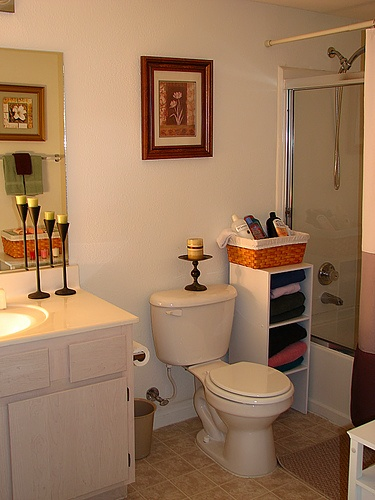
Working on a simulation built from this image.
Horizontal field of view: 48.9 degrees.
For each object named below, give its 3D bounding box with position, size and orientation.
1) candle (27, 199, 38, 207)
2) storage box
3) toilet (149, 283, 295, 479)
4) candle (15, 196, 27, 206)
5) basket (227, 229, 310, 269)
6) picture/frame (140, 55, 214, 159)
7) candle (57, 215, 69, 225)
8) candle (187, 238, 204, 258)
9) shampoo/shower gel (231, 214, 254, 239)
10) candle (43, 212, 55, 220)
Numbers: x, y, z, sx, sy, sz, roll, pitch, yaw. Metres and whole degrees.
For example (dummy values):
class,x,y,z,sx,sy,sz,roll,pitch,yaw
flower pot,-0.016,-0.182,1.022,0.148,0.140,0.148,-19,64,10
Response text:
class,x,y,z,sx,sy,sz,roll,pitch,yaw
candle,-0.615,-0.184,1.635,0.034,0.035,0.036,2,2,16
storage box,0.457,-0.034,2.302,0.322,0.135,0.224,-4,7,-33
toilet,0.196,0.607,1.974,0.441,0.745,0.694,-7,10,-37
candle,-0.648,-0.195,1.612,0.033,0.026,0.034,-2,7,-22
basket,0.459,0.005,2.304,0.320,0.132,0.223,-3,7,-34
picture/frame,-0.065,-0.721,2.036,0.495,0.615,0.043,-7,10,-37
candle,-0.516,-0.125,1.718,0.037,0.034,0.039,1,10,-4
candle,0.042,-0.012,2.124,0.084,0.100,0.086,6,8,39
shampoo/shower gel,0.302,-0.128,2.284,0.068,0.166,0.070,-33,-28,10
candle,-0.558,-0.140,1.675,0.033,0.033,0.042,-2,4,-28
